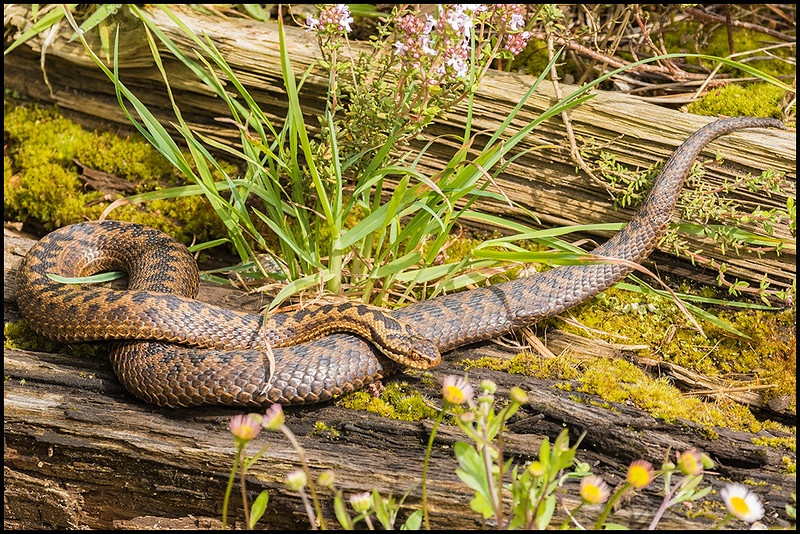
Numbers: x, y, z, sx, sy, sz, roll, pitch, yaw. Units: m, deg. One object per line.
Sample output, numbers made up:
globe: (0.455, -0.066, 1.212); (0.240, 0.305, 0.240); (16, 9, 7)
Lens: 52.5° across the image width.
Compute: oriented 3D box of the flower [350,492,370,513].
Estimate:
flower: (-0.274, 1.674, 5.788); (0.156, 0.113, 0.163); (1, -3, -33)

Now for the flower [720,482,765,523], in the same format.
flower: (2.366, 1.669, 5.691); (0.311, 0.102, 0.270); (-2, 41, -12)

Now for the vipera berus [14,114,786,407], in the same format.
vipera berus: (-0.685, -0.233, 7.803); (4.273, 0.665, 5.551); (-39, 62, -13)
